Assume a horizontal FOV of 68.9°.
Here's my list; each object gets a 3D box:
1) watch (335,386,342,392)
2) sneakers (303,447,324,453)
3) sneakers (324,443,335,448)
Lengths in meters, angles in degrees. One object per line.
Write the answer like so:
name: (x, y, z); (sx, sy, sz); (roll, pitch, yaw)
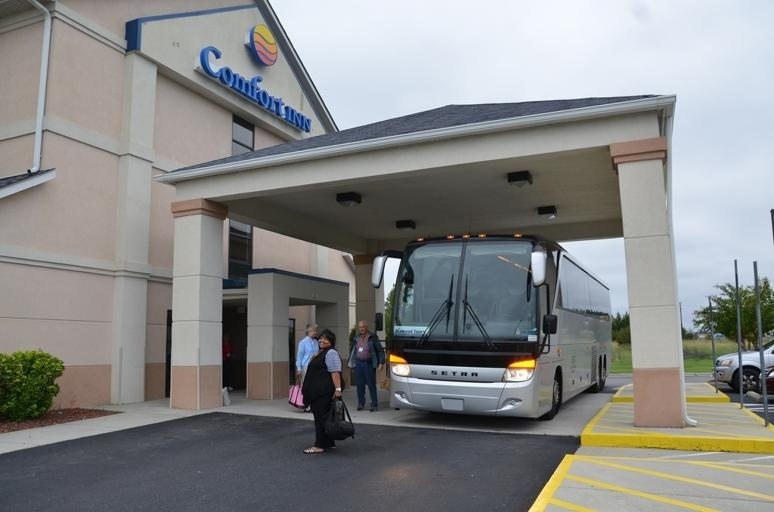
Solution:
watch: (-0.992, 2.666, 11.373); (0.086, 0.066, 0.089); (-6, -8, 35)
sneakers: (-1.508, 3.935, 11.587); (0.355, 0.094, 0.156); (5, -10, -14)
sneakers: (-1.206, 3.882, 11.635); (0.122, 0.065, 0.177); (0, -6, -2)
